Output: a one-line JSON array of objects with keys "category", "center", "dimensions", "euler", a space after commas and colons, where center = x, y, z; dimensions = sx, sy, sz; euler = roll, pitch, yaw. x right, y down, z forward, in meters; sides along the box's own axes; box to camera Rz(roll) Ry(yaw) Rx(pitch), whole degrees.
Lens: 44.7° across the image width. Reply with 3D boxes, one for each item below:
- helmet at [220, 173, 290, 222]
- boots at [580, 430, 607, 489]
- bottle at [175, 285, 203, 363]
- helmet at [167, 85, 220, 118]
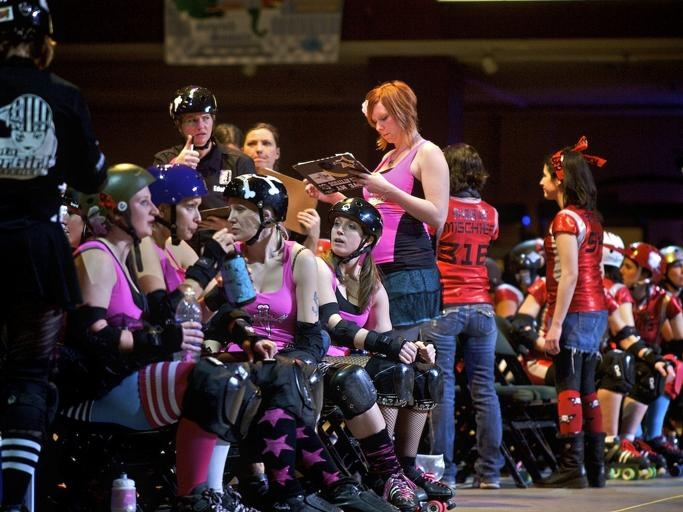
[{"category": "helmet", "center": [-0.463, -0.353, 4.696], "dimensions": [0.305, 0.242, 0.250], "euler": [6, -5, -11]}, {"category": "boots", "center": [2.035, 1.636, 6.693], "dimensions": [0.171, 0.400, 0.407], "euler": [-2, -7, -2]}, {"category": "bottle", "center": [-0.789, 0.343, 4.292], "dimensions": [0.126, 0.381, 0.191], "euler": [1, -3, -10]}, {"category": "helmet", "center": [-1.057, -1.097, 6.001], "dimensions": [0.268, 0.278, 0.238], "euler": [-10, 2, 7]}]
